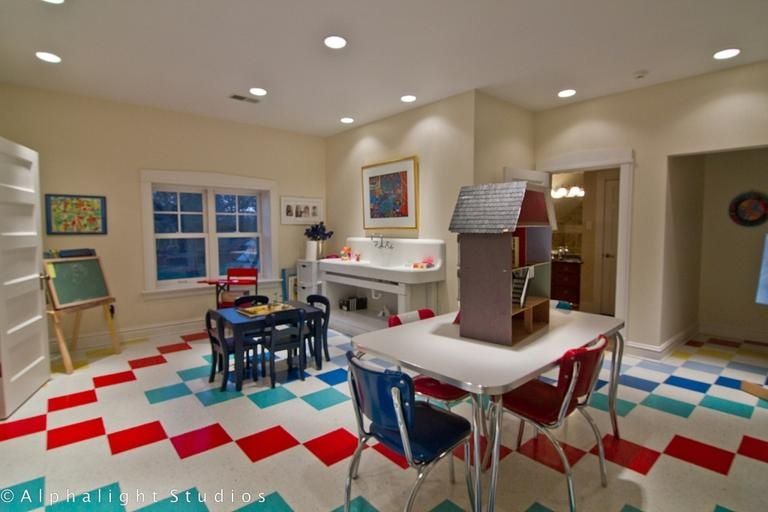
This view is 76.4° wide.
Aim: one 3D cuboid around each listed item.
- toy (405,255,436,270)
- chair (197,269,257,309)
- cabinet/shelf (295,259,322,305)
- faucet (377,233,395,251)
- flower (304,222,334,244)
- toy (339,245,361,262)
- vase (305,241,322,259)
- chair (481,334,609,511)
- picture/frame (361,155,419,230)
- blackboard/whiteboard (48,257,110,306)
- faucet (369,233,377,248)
[{"bbox_3d":[0.520,0.093,6.758,0.392,0.168,0.208,8,17,34],"label":"toy"},{"bbox_3d":[-2.260,0.556,7.240,0.789,0.691,0.644,-1,3,-32],"label":"chair"},{"bbox_3d":[-1.146,0.451,8.153,0.502,0.730,0.450,-3,5,-37],"label":"cabinet/shelf"},{"bbox_3d":[0.020,-0.185,7.327,0.121,0.187,0.414,-8,15,-25],"label":"faucet"},{"bbox_3d":[-1.092,-0.378,8.288,0.519,0.330,0.427,-10,17,-32],"label":"flower"},{"bbox_3d":[-0.526,-0.037,7.767,0.230,0.187,0.279,-1,-3,41],"label":"toy"},{"bbox_3d":[-1.171,-0.094,8.106,0.261,0.321,0.429,0,14,5],"label":"vase"},{"bbox_3d":[1.483,1.403,4.285,1.327,1.370,0.846,-15,20,-43],"label":"chair"},{"bbox_3d":[0.089,-0.896,7.331,0.043,0.978,1.105,-4,4,-45],"label":"picture/frame"},{"bbox_3d":[-3.867,0.343,6.164,0.042,0.575,0.594,-18,-5,32],"label":"blackboard/whiteboard"},{"bbox_3d":[-0.146,-0.237,7.566,0.082,0.184,0.300,-3,14,-5],"label":"faucet"}]
